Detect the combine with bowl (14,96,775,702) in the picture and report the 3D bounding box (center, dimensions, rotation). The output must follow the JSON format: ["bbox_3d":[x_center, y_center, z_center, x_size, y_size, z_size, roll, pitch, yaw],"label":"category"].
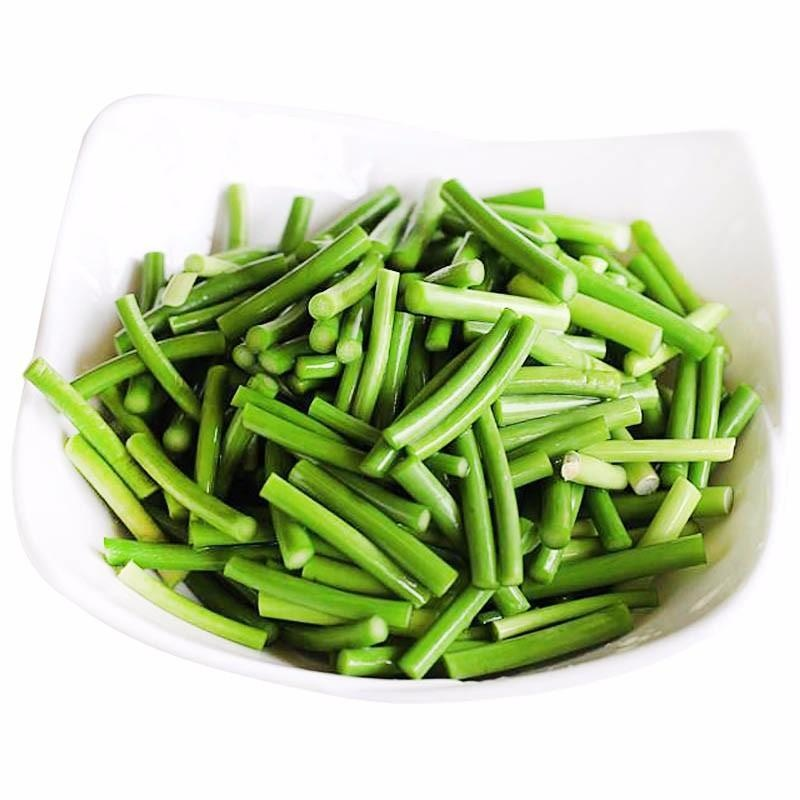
[{"bbox_3d":[-0.017,0.031,3.036,2.133,0.537,1.613,1,59,1],"label":"combine with bowl"}]
